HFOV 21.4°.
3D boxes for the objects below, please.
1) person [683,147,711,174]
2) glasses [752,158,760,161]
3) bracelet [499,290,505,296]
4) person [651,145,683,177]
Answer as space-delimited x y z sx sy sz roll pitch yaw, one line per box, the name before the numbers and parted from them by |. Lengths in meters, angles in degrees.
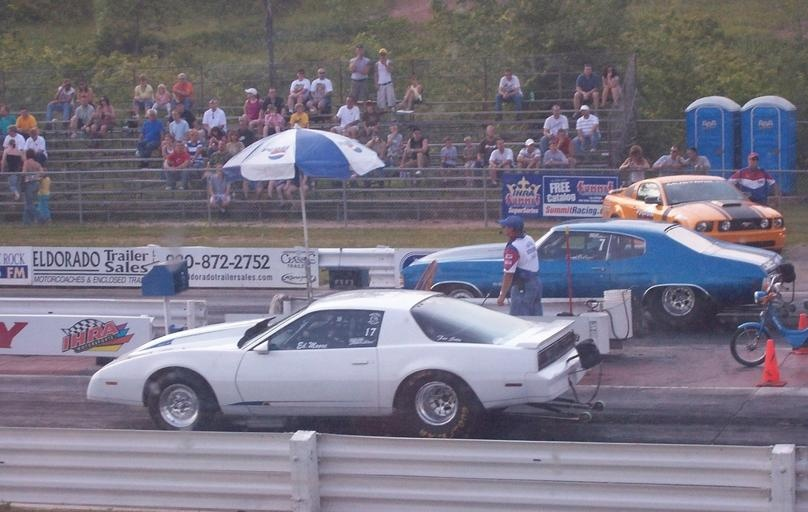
person | 11.458 -3.846 83.062 0.798 1.005 1.173 -3 9 -6
glasses | 13.413 -3.780 81.228 0.240 0.114 0.324 1 8 -8
bracelet | 3.386 1.270 73.968 0.154 0.184 0.262 5 -5 -8
person | 10.398 -3.831 83.800 1.151 1.188 1.227 -1 9 6
